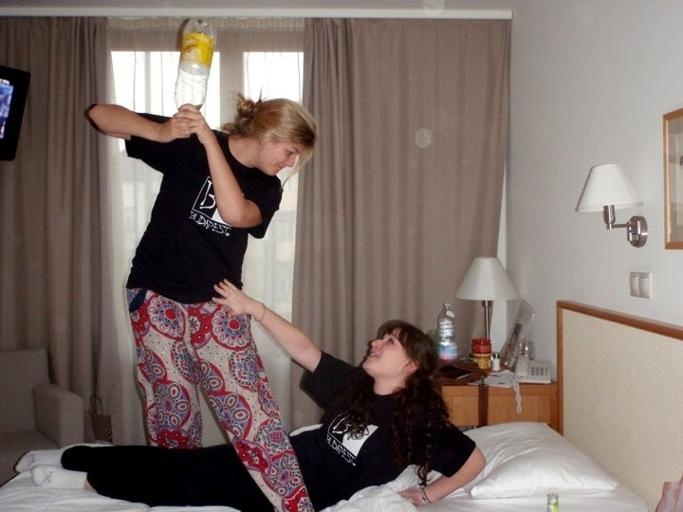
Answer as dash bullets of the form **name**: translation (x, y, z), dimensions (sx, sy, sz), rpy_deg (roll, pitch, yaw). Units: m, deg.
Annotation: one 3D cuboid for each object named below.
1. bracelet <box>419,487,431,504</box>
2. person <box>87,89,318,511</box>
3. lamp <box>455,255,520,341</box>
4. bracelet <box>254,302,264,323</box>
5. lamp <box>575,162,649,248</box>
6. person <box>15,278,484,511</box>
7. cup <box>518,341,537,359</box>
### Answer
- **bracelet**: translation (0.341, 0.970, 2.276), dimensions (0.014, 0.044, 0.058), rpy_deg (-16, 47, -7)
- **person**: translation (-0.481, 0.181, 2.163), dimensions (0.823, 1.577, 0.336), rpy_deg (4, 5, 14)
- **lamp**: translation (0.938, 0.443, 3.598), dimensions (0.396, 0.870, 0.420), rpy_deg (0, 0, 18)
- **bracelet**: translation (-0.327, 0.228, 2.235), dimensions (0.015, 0.068, 0.047), rpy_deg (3, 7, 11)
- **lamp**: translation (1.201, -0.209, 2.485), dimensions (0.255, 0.414, 0.267), rpy_deg (-8, 7, -4)
- **person**: translation (-0.317, 0.489, 2.558), dimensions (1.677, 0.919, 0.867), rpy_deg (2, 3, -3)
- **cup**: translation (1.124, 0.554, 3.362), dimensions (0.096, 0.120, 0.117), rpy_deg (1, -1, -11)
